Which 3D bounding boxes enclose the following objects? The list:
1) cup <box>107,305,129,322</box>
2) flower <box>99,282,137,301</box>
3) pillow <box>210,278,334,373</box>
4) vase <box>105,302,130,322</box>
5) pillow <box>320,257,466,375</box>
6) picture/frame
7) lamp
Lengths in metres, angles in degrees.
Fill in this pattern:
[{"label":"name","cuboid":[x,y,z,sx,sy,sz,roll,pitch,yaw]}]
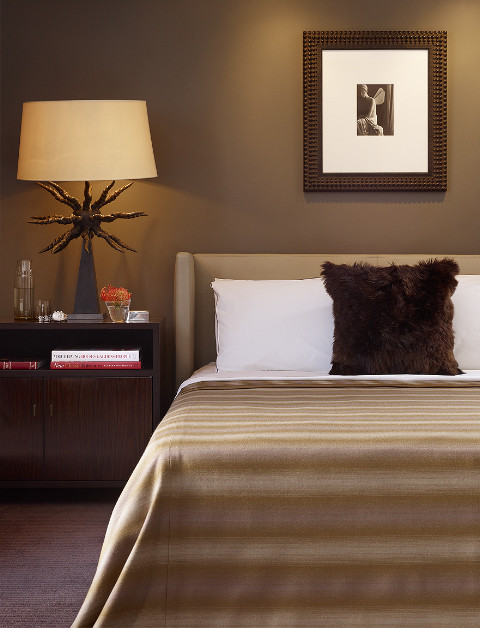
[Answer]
[{"label":"cup","cuboid":[-0.533,-0.009,2.589,0.071,0.060,0.076,0,4,0]},{"label":"flower","cuboid":[-0.544,-0.086,2.631,0.091,0.057,0.113,2,-1,-1]},{"label":"pillow","cuboid":[0.183,0.093,2.689,0.404,0.412,0.118,1,-14,5]},{"label":"vase","cuboid":[-0.539,-0.014,2.587,0.087,0.077,0.080,0,1,-2]},{"label":"pillow","cuboid":[0.583,0.022,2.263,0.370,0.400,0.152,-1,-13,4]},{"label":"picture/frame","cuboid":[0.660,-1.025,2.903,0.658,0.763,0.028,0,1,-3]},{"label":"lamp","cuboid":[-0.696,-0.446,2.740,0.585,0.952,0.575,-3,2,-30]}]
